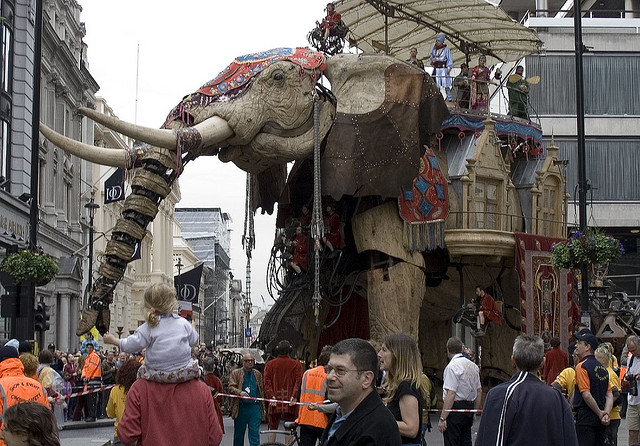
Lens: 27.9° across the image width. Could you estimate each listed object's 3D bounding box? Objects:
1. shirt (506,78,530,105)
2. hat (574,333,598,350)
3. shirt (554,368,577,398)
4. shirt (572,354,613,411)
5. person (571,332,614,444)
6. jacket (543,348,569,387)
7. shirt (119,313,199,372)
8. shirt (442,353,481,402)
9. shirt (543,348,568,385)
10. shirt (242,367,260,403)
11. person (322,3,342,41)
[{"bbox_3d":[6.585,-4.373,42.956,0.951,1.118,0.571,1,-10,-6],"label":"shirt"},{"bbox_3d":[6.075,2.694,29.378,0.463,0.390,0.441,-3,-11,11],"label":"hat"},{"bbox_3d":[5.581,3.645,29.470,0.550,0.574,0.201,11,-28,-32],"label":"shirt"},{"bbox_3d":[6.121,3.641,29.266,0.677,1.300,1.291,8,3,40],"label":"shirt"},{"bbox_3d":[6.173,3.687,29.149,0.877,2.519,0.726,0,-10,-2],"label":"person"},{"bbox_3d":[6.102,3.657,33.349,0.662,1.093,0.390,-10,25,-11],"label":"jacket"},{"bbox_3d":[-3.299,2.564,26.133,1.020,1.393,1.089,-6,-1,-30],"label":"shirt"},{"bbox_3d":[3.276,3.497,29.236,0.867,1.047,0.625,3,-11,-22],"label":"shirt"},{"bbox_3d":[6.112,3.724,33.359,0.656,1.152,0.407,-2,17,4],"label":"shirt"},{"bbox_3d":[-1.729,4.029,32.296,0.437,0.613,0.308,7,-22,-29],"label":"shirt"},{"bbox_3d":[0.376,-5.972,38.419,0.553,1.194,0.346,9,-14,-43],"label":"person"}]
